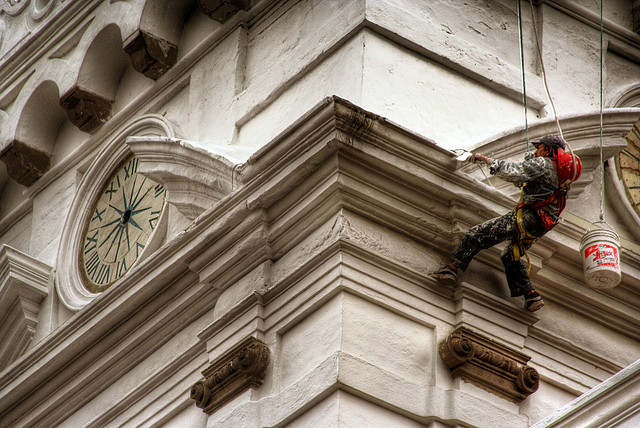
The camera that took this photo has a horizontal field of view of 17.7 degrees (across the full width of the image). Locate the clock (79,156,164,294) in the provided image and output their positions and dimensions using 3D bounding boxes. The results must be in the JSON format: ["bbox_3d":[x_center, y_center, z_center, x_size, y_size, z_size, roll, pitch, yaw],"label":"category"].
[{"bbox_3d":[-2.716,0.064,28.510,0.214,2.181,2.289,26,-51,-30],"label":"clock"}]

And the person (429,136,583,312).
[{"bbox_3d":[2.250,0.158,25.613,1.632,2.209,1.002,13,-34,27],"label":"person"}]
